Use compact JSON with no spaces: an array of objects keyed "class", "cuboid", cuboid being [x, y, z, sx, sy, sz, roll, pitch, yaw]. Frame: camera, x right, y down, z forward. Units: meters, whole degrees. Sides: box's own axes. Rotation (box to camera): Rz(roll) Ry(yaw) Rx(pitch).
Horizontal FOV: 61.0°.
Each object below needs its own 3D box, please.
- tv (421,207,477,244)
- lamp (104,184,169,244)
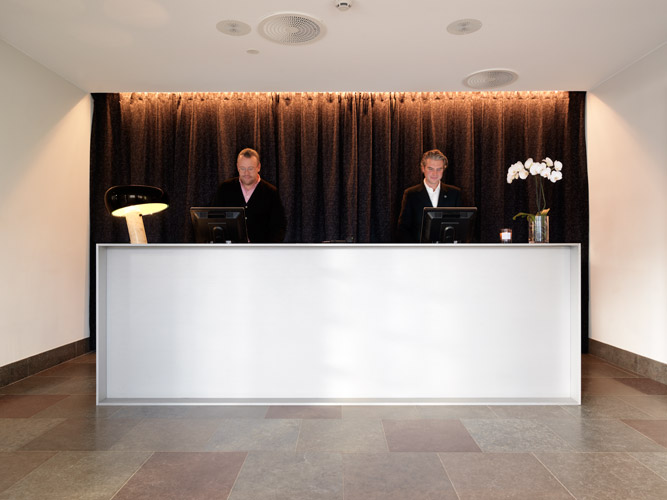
[{"class":"tv","cuboid":[1.007,-0.223,5.014,0.463,0.300,0.151,-1,3,6]},{"class":"lamp","cuboid":[-1.855,-0.340,5.200,0.546,0.523,0.644,-1,3,-7]}]
